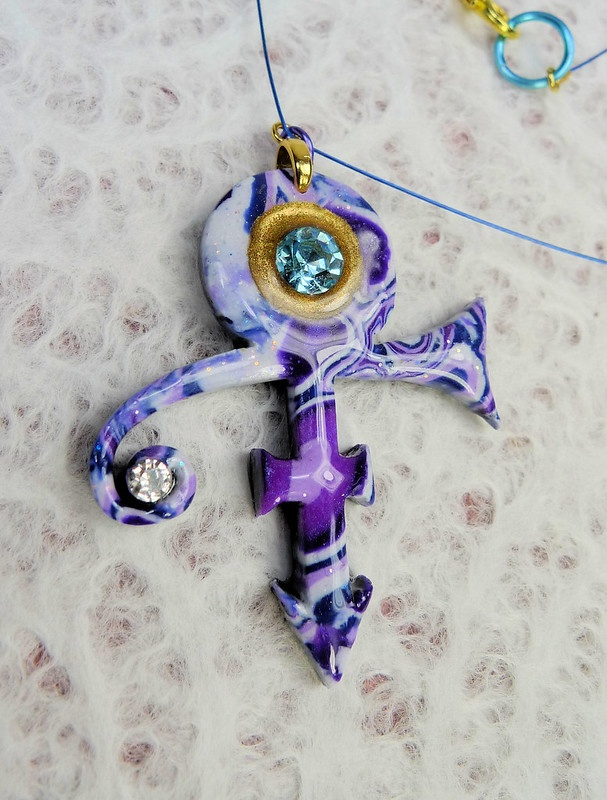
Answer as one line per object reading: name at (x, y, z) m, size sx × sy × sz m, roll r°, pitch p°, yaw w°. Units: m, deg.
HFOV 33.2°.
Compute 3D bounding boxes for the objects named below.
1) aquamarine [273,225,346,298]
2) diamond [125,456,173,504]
aquamarine at (0.008, -0.131, 0.979) m, size 0.067 × 0.024 × 0.062 m, roll 0°, pitch 94°, yaw -14°
diamond at (-0.135, 0.071, 0.902) m, size 0.041 × 0.019 × 0.039 m, roll -32°, pitch 73°, yaw -16°
